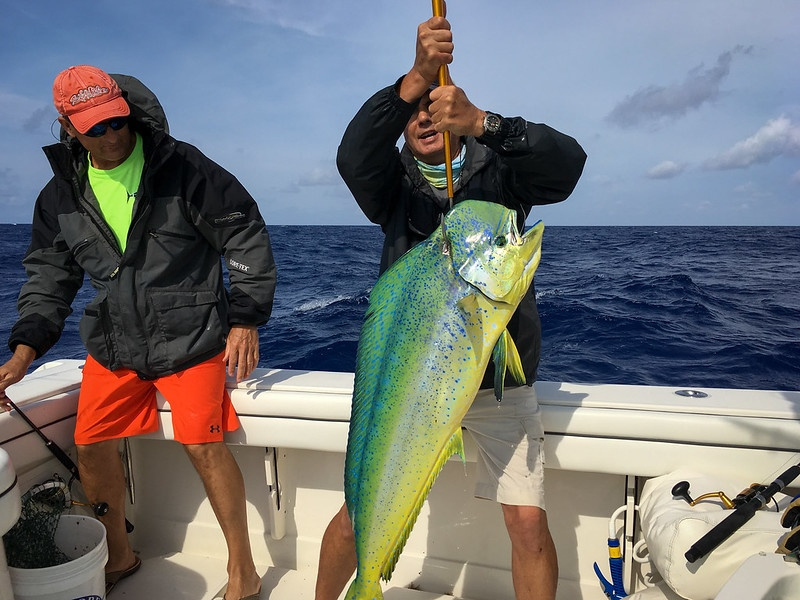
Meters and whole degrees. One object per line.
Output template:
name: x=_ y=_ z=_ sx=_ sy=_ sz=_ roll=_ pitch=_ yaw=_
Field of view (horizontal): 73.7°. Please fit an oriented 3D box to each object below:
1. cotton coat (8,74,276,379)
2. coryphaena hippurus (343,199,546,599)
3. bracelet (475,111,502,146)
cotton coat: x=-1.368 y=-0.325 z=2.811 sx=1.204 sy=1.604 sz=0.842 roll=-7 pitch=9 yaw=-18
coryphaena hippurus: x=0.124 y=0.364 z=1.931 sx=0.640 sy=1.429 sz=0.257 roll=0 pitch=12 yaw=-8
bracelet: x=0.332 y=-0.633 z=1.989 sx=0.062 sy=0.109 sz=0.095 roll=0 pitch=8 yaw=-5
